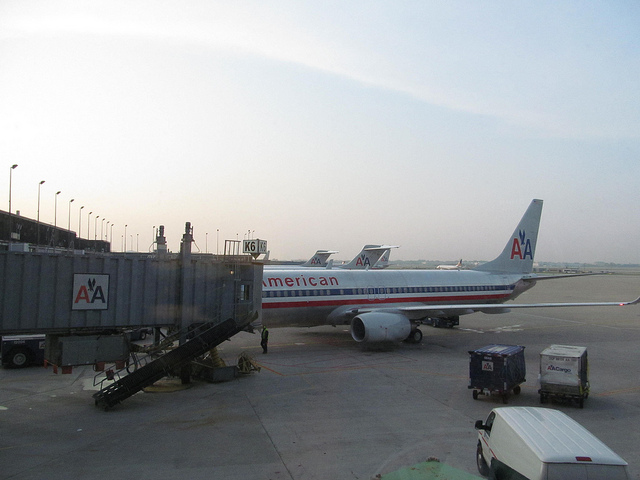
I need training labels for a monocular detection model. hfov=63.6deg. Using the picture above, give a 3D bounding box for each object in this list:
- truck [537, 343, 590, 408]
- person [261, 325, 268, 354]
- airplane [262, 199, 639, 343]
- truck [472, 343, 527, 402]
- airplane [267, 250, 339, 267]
[{"bbox_3d":[11.438,6.435,24.281,1.916,2.455,1.721,2,2,27],"label":"truck"},{"bbox_3d":[-3.726,6.603,34.501,0.426,1.820,1.271,0,2,-7],"label":"person"},{"bbox_3d":[7.298,4.234,40.199,20.749,5.631,16.850,2,-3,-25],"label":"airplane"},{"bbox_3d":[8.587,6.462,24.934,1.662,2.333,2.279,2,3,38],"label":"truck"},{"bbox_3d":[-2.876,3.981,94.321,11.250,2.790,9.934,3,6,37],"label":"airplane"}]
